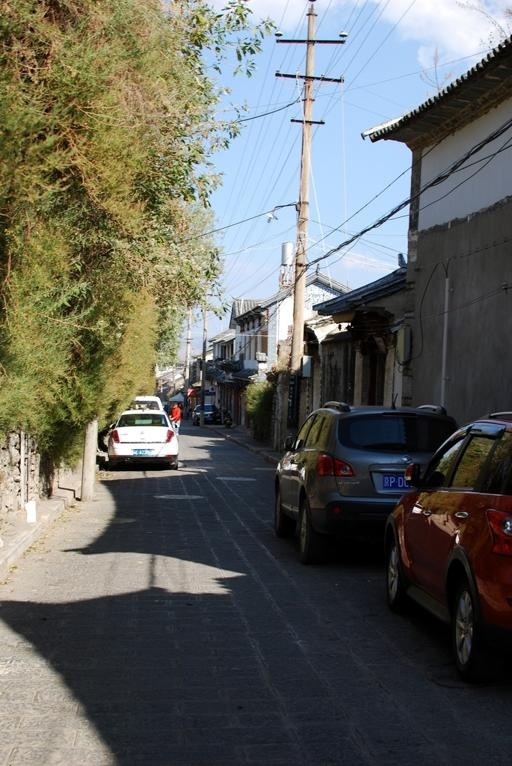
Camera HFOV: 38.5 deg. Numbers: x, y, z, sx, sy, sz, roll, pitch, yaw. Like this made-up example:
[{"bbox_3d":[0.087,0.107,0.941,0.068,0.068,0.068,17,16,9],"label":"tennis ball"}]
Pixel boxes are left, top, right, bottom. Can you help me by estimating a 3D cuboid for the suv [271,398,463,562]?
[{"bbox_3d":[1.088,0.977,8.772,1.222,1.142,2.670,1,1,-7],"label":"suv"}]
